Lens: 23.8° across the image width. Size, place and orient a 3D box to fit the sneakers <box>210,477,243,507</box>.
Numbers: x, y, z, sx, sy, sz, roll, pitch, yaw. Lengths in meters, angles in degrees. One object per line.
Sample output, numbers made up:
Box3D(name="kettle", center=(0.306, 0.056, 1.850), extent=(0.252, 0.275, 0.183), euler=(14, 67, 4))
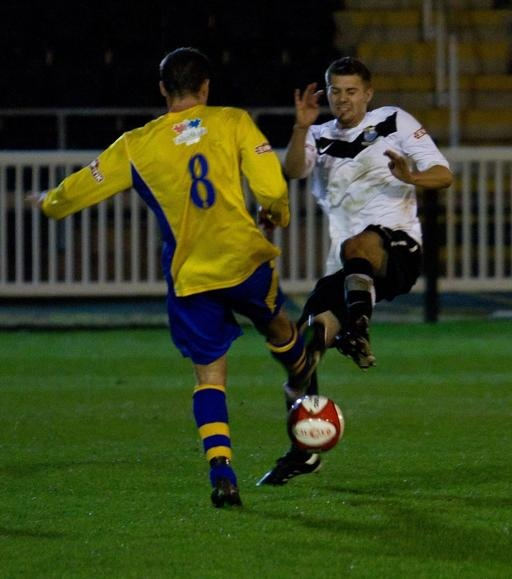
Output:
Box3D(name="sneakers", center=(-0.114, 0.753, 4.544), extent=(0.093, 0.079, 0.126), euler=(0, 1, 1))

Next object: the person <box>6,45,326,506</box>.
Box3D(name="person", center=(-0.263, 0.031, 4.801), extent=(0.948, 1.504, 0.785), euler=(-3, 6, -1))

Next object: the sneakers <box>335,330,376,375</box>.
Box3D(name="sneakers", center=(0.468, 0.255, 5.144), extent=(0.086, 0.183, 0.127), euler=(-2, -39, -51))
